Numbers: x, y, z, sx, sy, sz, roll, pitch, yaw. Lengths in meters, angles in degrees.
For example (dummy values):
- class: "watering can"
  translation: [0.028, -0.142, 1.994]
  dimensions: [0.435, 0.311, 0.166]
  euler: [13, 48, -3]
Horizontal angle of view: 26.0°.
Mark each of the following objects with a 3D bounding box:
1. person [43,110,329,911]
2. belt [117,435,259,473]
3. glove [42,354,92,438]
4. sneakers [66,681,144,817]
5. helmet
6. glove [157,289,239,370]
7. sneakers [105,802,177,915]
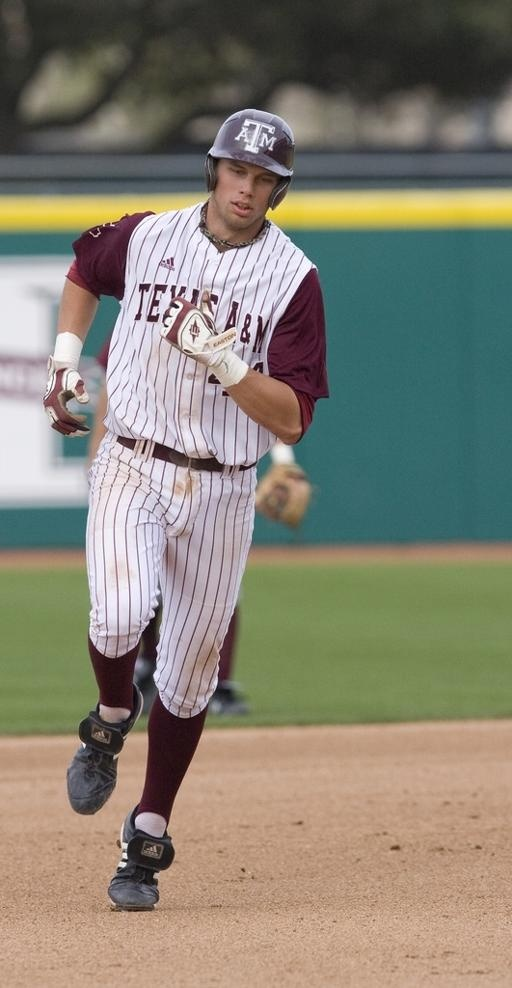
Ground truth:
- class: "person"
  translation: [-0.166, 0.129, 2.074]
  dimensions: [0.533, 1.357, 0.387]
  euler: [5, 9, 3]
- class: "belt"
  translation: [-0.130, -0.071, 2.052]
  dimensions: [0.251, 0.055, 0.072]
  euler: [3, 8, -7]
- class: "glove"
  translation: [-0.345, -0.177, 2.058]
  dimensions: [0.095, 0.187, 0.072]
  euler: [-5, -20, 4]
- class: "sneakers"
  translation: [-0.298, 0.481, 2.121]
  dimensions: [0.096, 0.253, 0.103]
  euler: [18, 1, 0]
- class: "helmet"
  translation: [-0.009, -0.635, 2.089]
  dimensions: [0.167, 0.160, 0.195]
  euler: [18, 21, 8]
- class: "glove"
  translation: [-0.114, -0.268, 1.871]
  dimensions: [0.122, 0.055, 0.125]
  euler: [45, 27, 28]
- class: "sneakers"
  translation: [-0.230, 0.713, 2.184]
  dimensions: [0.080, 0.090, 0.216]
  euler: [24, 15, -12]
